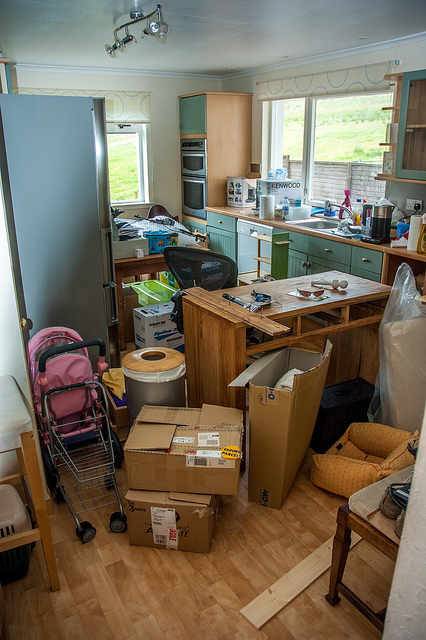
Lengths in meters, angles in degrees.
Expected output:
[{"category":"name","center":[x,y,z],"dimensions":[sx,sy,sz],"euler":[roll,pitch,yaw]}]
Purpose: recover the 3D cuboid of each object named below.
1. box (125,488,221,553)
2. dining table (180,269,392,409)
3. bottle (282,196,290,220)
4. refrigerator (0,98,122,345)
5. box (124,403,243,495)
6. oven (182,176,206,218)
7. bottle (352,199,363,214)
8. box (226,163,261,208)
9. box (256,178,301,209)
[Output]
[{"category":"box","center":[-0.177,0.818,1.794],"dimensions":[0.362,0.291,0.138],"euler":[1,14,6]},{"category":"dining table","center":[0.407,0.207,2.586],"dimensions":[1.034,0.830,0.639],"euler":[-6,17,-27]},{"category":"bottle","center":[0.808,-1.231,4.860],"dimensions":[0.075,0.243,0.315],"euler":[2,15,10]},{"category":"refrigerator","center":[-0.943,-0.572,2.814],"dimensions":[0.597,1.556,0.254],"euler":[-6,15,-21]},{"category":"box","center":[-0.112,0.547,1.873],"dimensions":[0.463,0.216,0.364],"euler":[1,15,6]},{"category":"oven","center":[-0.170,-1.712,6.142],"dimensions":[0.516,0.515,0.363],"euler":[19,30,39]},{"category":"bottle","center":[1.476,-1.143,4.482],"dimensions":[0.087,0.134,0.264],"euler":[2,15,11]},{"category":"box","center":[0.425,-1.733,5.691],"dimensions":[0.438,0.559,0.461],"euler":[-4,15,-13]},{"category":"box","center":[0.746,-1.435,5.020],"dimensions":[0.520,0.316,0.375],"euler":[2,15,9]}]
